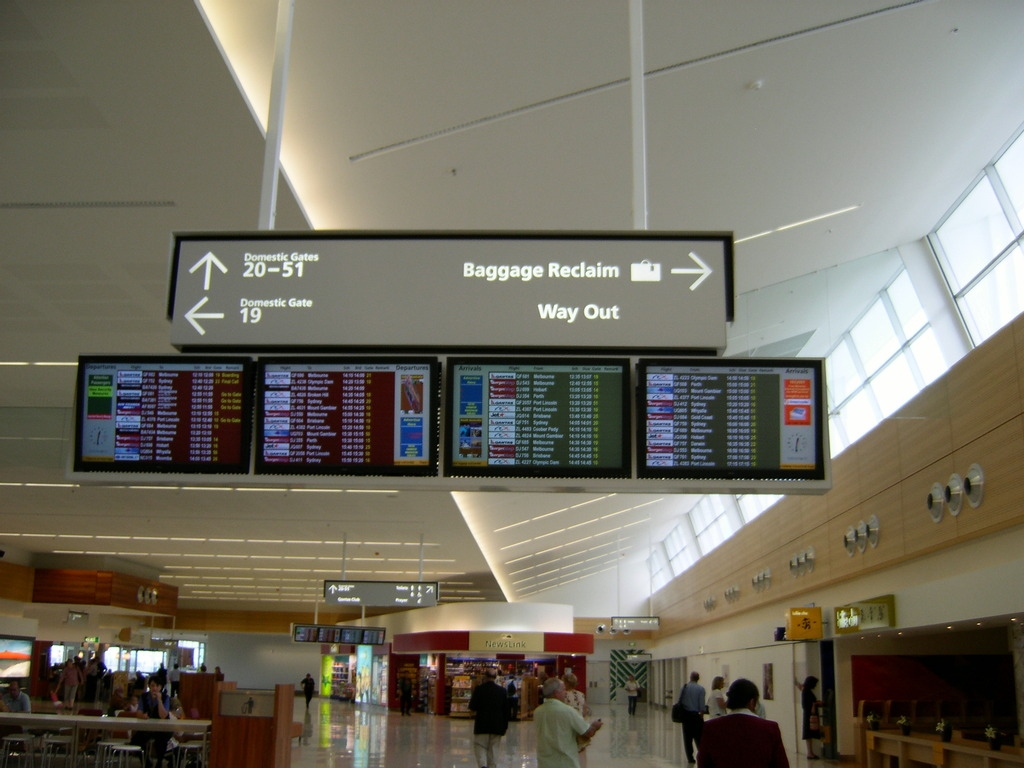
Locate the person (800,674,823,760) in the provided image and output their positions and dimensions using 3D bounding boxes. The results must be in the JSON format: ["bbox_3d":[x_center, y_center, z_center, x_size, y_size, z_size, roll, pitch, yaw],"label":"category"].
[{"bbox_3d":[5.990,6.595,17.251,0.352,1.511,1.008,-2,-14,18],"label":"person"}]

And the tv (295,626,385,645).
[{"bbox_3d":[-5.536,8.345,28.890,2.870,0.548,3.382,3,-14,-1],"label":"tv"}]

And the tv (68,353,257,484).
[{"bbox_3d":[-2.413,0.236,6.051,1.281,0.880,0.195,1,-13,8],"label":"tv"}]
